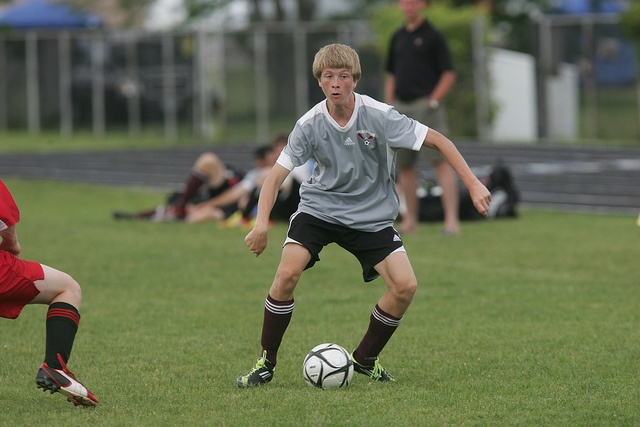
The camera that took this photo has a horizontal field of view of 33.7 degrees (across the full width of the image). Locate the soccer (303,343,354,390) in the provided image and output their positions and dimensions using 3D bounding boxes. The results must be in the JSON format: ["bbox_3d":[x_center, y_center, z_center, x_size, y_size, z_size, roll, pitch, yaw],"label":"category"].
[{"bbox_3d":[0.072,1.151,7.984,0.388,0.299,0.214,1,7,-2],"label":"soccer"}]

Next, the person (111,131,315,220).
[{"bbox_3d":[-1.250,-0.367,12.679,2.173,1.234,0.925,2,-4,0],"label":"person"}]

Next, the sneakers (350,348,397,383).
[{"bbox_3d":[0.425,1.155,8.121,0.430,0.206,0.149,23,0,5],"label":"sneakers"}]
